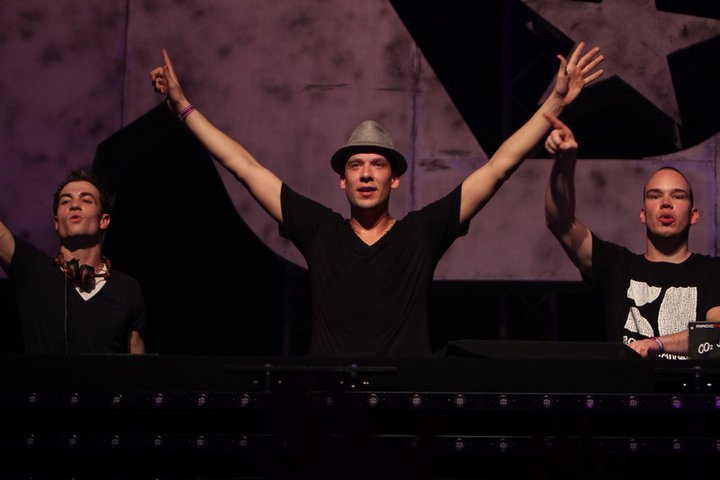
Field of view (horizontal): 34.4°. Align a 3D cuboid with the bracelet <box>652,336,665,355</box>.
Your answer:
[{"bbox_3d":[1.962,0.701,7.566,0.046,0.111,0.099,-16,9,-1],"label":"bracelet"}]

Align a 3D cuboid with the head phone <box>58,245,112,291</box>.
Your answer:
[{"bbox_3d":[-2.100,0.188,8.630,0.286,0.109,0.318,10,20,-4],"label":"head phone"}]

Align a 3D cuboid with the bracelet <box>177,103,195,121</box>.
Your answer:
[{"bbox_3d":[-1.181,-0.853,7.850,0.115,0.106,0.076,-1,-3,5],"label":"bracelet"}]
